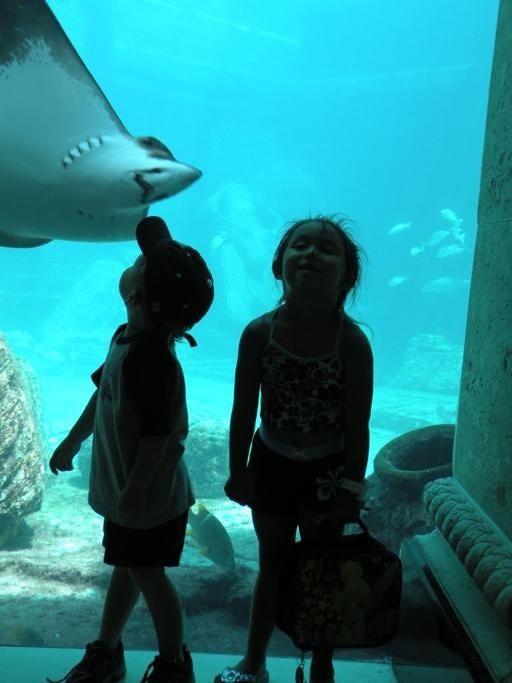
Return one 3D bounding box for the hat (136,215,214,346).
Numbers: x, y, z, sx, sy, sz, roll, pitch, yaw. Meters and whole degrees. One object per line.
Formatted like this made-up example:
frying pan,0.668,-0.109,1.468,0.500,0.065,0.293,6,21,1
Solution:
hat,-0.298,-0.194,2.099,0.228,0.340,0.237,-12,-1,37
